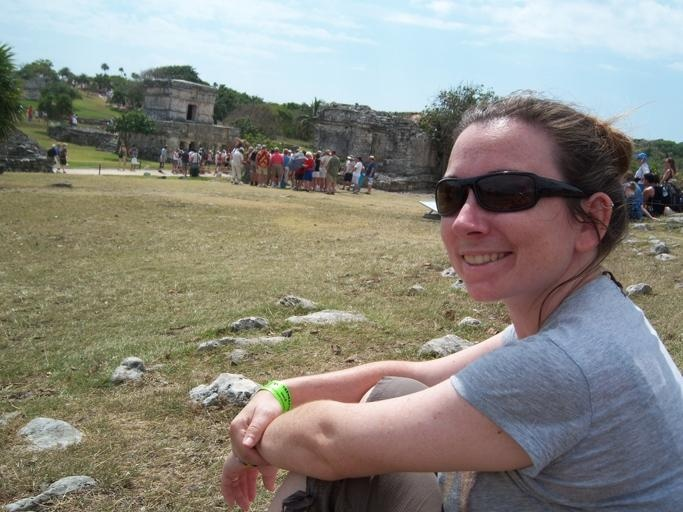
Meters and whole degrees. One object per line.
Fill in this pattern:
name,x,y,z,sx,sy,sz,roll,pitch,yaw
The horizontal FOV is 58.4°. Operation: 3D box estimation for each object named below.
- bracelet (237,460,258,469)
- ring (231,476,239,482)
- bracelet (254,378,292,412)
bracelet,-0.376,0.836,2.453,0.073,0.029,0.057,22,-10,-2
ring,-0.434,0.914,2.515,0.026,0.025,0.026,11,51,-13
bracelet,-0.280,0.594,2.538,0.094,0.142,0.126,-25,-5,-40
